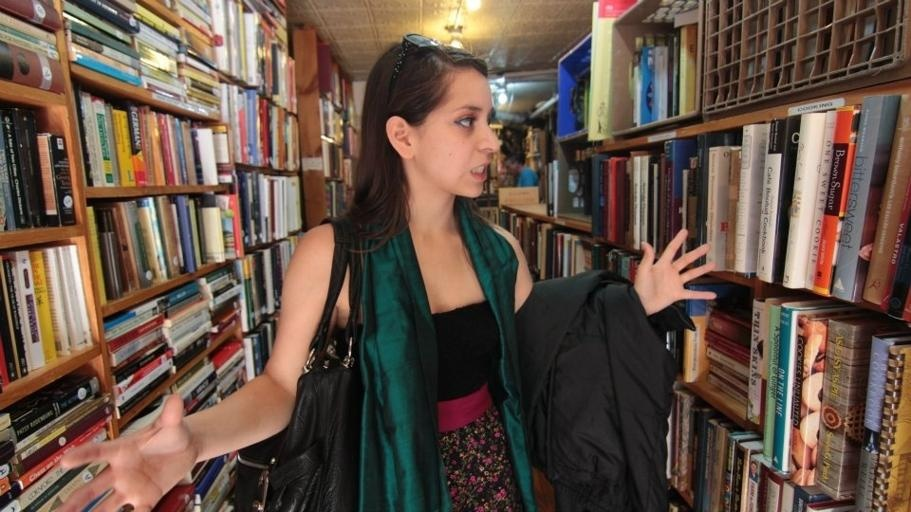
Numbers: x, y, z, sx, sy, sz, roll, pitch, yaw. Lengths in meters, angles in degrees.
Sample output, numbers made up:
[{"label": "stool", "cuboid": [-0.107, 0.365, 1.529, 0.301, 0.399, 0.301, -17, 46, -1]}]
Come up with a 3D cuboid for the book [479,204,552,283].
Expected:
[{"label": "book", "cuboid": [0.669, -0.212, 5.627, 0.231, 0.879, 0.885, -9, -81, -9]}]
